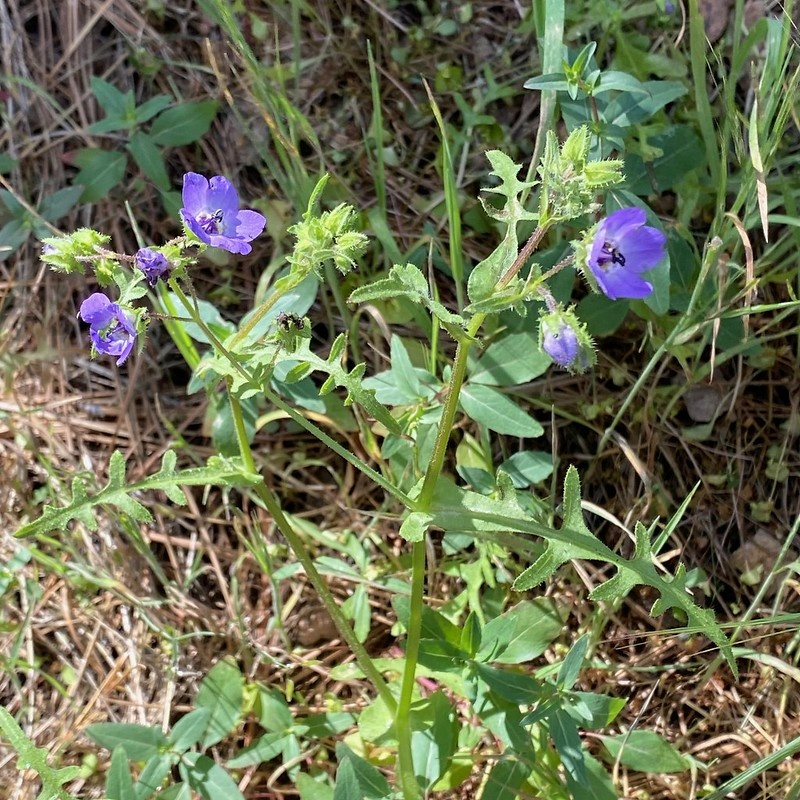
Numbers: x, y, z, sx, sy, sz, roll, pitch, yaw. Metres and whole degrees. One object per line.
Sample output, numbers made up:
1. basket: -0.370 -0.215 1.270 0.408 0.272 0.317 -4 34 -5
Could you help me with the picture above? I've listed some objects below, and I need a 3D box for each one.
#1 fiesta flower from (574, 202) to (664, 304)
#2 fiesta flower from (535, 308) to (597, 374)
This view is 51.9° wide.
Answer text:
1. fiesta flower: 0.571 -0.369 2.002 0.097 0.176 0.192 -12 80 -10
2. fiesta flower: 0.410 -0.154 2.036 0.136 0.072 0.165 -30 89 27
